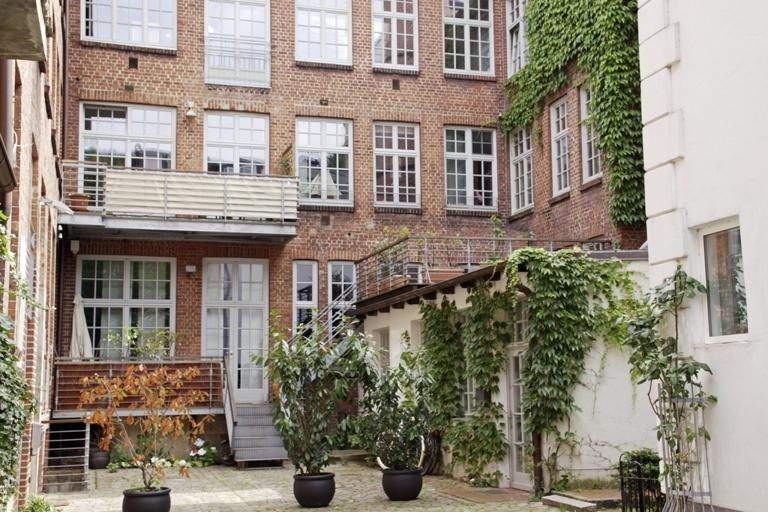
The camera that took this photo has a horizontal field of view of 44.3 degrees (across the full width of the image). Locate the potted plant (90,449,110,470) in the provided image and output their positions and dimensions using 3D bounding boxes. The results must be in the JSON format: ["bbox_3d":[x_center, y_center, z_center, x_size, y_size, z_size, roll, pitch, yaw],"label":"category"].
[{"bbox_3d":[-6.399,4.543,21.131,0.388,0.296,0.397,-5,-12,32],"label":"potted plant"}]

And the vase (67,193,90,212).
[{"bbox_3d":[-7.270,-1.241,22.365,0.429,0.512,0.709,1,-11,-19],"label":"vase"}]
